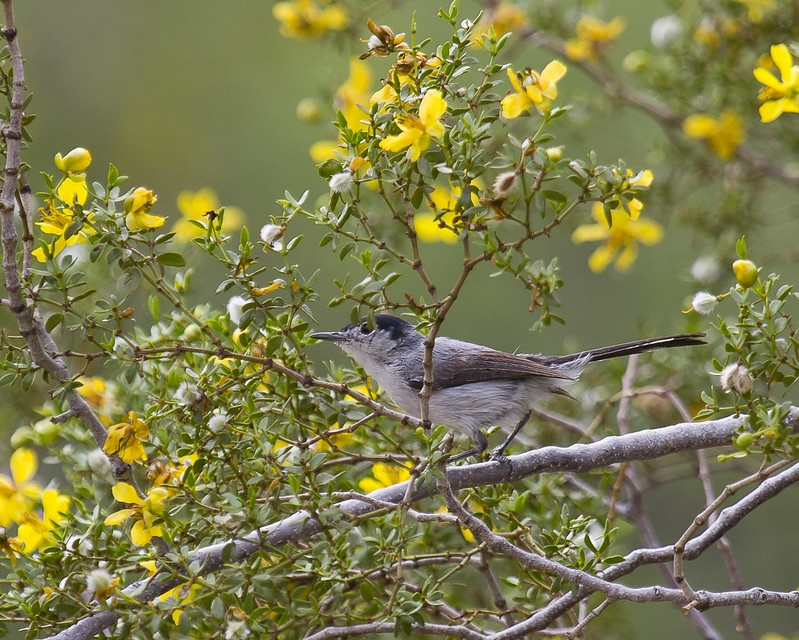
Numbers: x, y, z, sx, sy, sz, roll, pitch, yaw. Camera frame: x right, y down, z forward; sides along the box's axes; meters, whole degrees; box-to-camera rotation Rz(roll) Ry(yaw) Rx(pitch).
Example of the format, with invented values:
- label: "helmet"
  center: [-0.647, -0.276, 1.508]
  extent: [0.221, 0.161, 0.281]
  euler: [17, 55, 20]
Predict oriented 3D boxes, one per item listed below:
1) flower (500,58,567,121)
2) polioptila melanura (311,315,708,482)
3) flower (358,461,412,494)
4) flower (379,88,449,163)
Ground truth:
- label: "flower"
  center: [0.572, -1.006, 4.500]
  extent: [0.272, 0.263, 0.138]
  euler: [-46, -61, -28]
- label: "polioptila melanura"
  center: [0.595, 0.387, 5.810]
  extent: [2.113, 0.576, 0.888]
  euler: [0, -105, 11]
- label: "flower"
  center: [-0.102, 0.788, 5.287]
  extent: [0.230, 0.226, 0.067]
  euler: [-12, -46, 25]
- label: "flower"
  center: [0.094, -0.802, 4.429]
  extent: [0.304, 0.241, 0.141]
  euler: [-45, -43, 14]
